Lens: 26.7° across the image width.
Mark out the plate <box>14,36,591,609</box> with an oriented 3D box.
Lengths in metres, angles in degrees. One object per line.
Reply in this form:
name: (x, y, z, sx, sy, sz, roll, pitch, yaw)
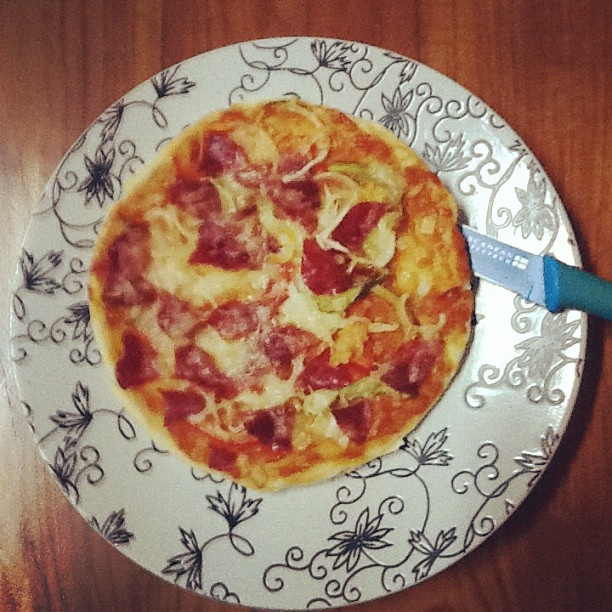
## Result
plate: (-0.016, 0.024, 2.045, 0.908, 0.130, 0.917, 11, 82, -1)
